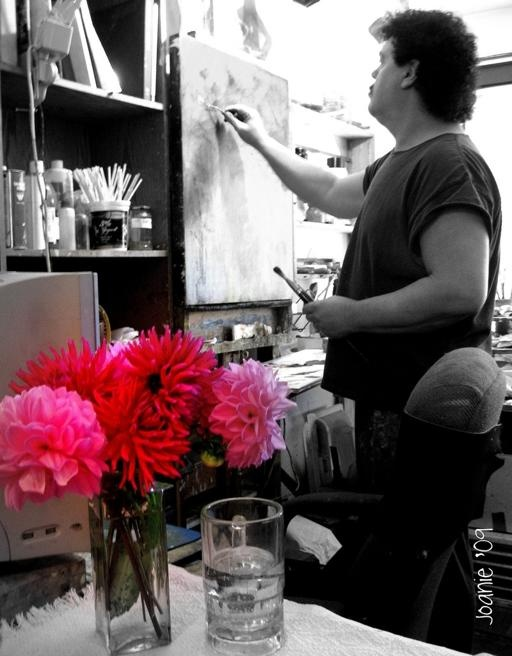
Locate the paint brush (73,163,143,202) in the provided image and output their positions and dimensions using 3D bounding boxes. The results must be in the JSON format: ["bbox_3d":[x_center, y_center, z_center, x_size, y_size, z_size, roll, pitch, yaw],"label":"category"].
[{"bbox_3d":[-0.444,-0.444,1.684,0.129,0.138,0.140,-3,3,44],"label":"paint brush"}]

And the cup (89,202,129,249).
[{"bbox_3d":[-0.423,-0.296,1.646,0.095,0.159,0.120,1,4,10],"label":"cup"}]

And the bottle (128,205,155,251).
[{"bbox_3d":[-0.369,-0.321,1.765,0.066,0.133,0.044,-1,6,-20],"label":"bottle"}]
